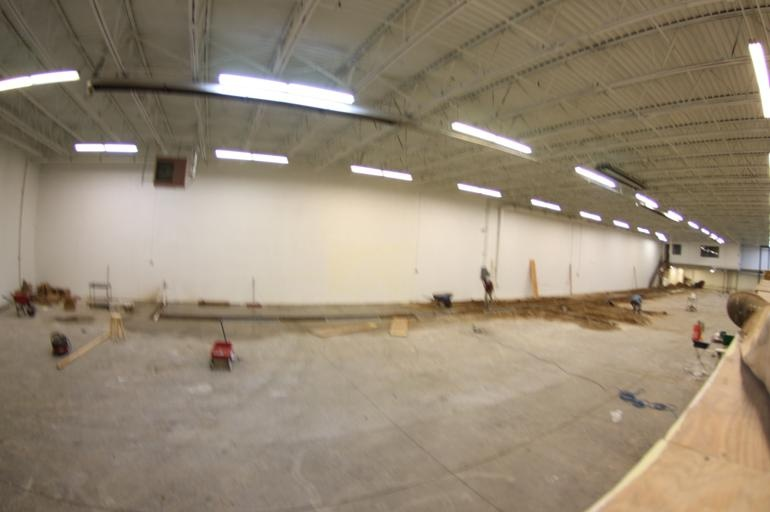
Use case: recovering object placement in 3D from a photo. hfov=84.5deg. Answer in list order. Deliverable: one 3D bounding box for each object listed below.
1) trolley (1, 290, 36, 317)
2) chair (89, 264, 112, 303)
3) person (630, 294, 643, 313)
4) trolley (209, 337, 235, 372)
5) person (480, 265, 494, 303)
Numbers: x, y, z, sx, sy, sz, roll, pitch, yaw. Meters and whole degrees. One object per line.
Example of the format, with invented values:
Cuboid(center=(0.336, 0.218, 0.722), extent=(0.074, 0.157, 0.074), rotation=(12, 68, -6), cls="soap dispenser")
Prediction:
Cuboid(center=(-8.527, 1.081, 9.913), extent=(1.075, 0.539, 0.539), rotation=(10, 10, 42), cls="trolley")
Cuboid(center=(-7.156, 0.712, 10.630), extent=(0.536, 0.931, 0.382), rotation=(0, 8, -24), cls="chair")
Cuboid(center=(8.452, 1.595, 14.189), extent=(0.313, 0.545, 0.726), rotation=(8, 8, 32), cls="person")
Cuboid(center=(-3.242, 1.957, 8.429), extent=(0.559, 0.492, 0.470), rotation=(2, 1, 3), cls="trolley")
Cuboid(center=(3.438, 0.986, 14.387), extent=(0.460, 1.211, 0.399), rotation=(2, -31, 2), cls="person")
